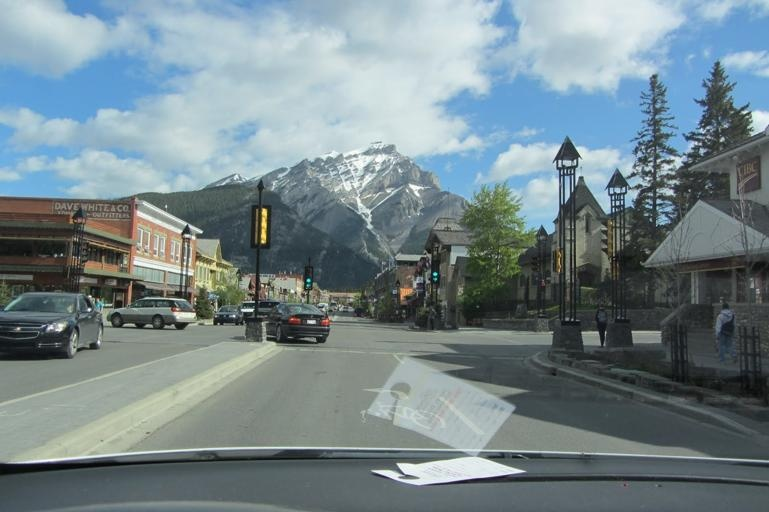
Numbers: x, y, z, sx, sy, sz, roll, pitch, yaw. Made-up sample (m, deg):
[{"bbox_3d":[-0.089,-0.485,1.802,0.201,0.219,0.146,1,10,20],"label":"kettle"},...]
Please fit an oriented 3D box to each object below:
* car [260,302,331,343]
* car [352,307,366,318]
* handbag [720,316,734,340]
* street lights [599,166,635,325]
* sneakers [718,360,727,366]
[{"bbox_3d":[-4.023,2.842,33.234,1.689,1.581,4.349,3,-9,-32],"label":"car"},{"bbox_3d":[-4.618,10.379,143.974,1.782,1.341,2.898,0,-7,-3],"label":"car"},{"bbox_3d":[11.188,2.315,25.370,0.532,0.646,0.323,0,-7,-6],"label":"handbag"},{"bbox_3d":[9.370,-1.119,31.463,0.937,4.582,0.959,6,-12,-11],"label":"street lights"},{"bbox_3d":[10.756,3.423,24.816,0.184,0.252,0.623,-3,-10,14],"label":"sneakers"}]
